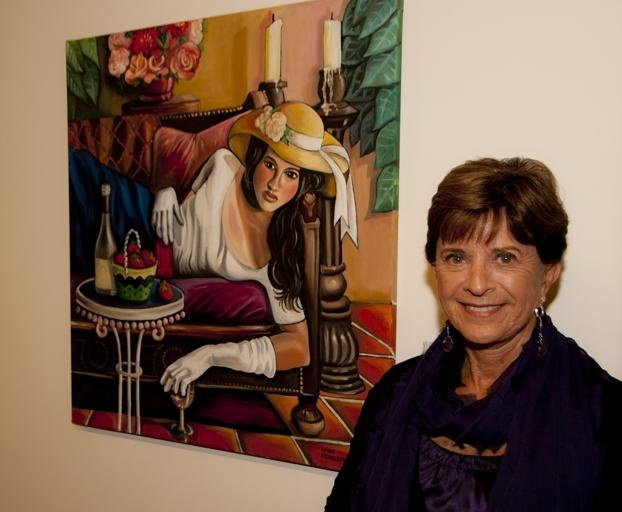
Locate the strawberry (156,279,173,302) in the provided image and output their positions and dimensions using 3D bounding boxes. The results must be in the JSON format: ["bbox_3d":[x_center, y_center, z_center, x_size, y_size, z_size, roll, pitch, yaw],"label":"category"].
[{"bbox_3d":[-0.552,0.131,2.493,0.055,0.081,0.069,-4,-13,4],"label":"strawberry"}]

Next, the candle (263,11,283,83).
[{"bbox_3d":[-0.131,-0.731,2.320,0.076,0.235,0.012,-2,3,19],"label":"candle"}]

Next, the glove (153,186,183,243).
[{"bbox_3d":[-0.541,-0.154,2.480,0.104,0.218,0.048,4,5,22],"label":"glove"}]
